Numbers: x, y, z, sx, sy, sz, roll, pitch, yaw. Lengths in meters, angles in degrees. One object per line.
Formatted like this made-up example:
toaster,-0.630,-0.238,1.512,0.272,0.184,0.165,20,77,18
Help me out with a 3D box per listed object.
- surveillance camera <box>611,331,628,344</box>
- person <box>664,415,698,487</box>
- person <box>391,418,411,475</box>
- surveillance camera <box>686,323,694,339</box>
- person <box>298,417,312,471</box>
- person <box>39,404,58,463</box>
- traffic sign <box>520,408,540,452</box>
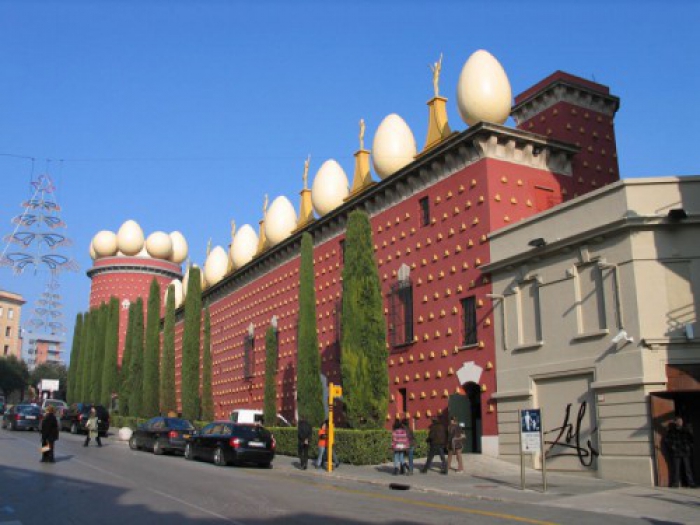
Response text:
surveillance camera,8.996,2.470,23.546,0.625,0.415,0.261,-17,-25,42
person,10.161,5.852,21.727,0.757,2.081,0.598,-8,-19,26
person,1.854,6.701,25.700,0.654,1.974,1.383,0,-18,2
surveillance camera,11.062,2.250,22.909,0.289,0.536,0.172,0,-17,5
person,-1.734,7.088,27.662,0.492,2.046,1.200,2,-17,-4
person,-10.554,6.078,24.918,0.553,1.967,1.135,8,-19,-22
traffic sign,5.623,5.238,21.889,0.728,1.634,0.143,-3,20,8
